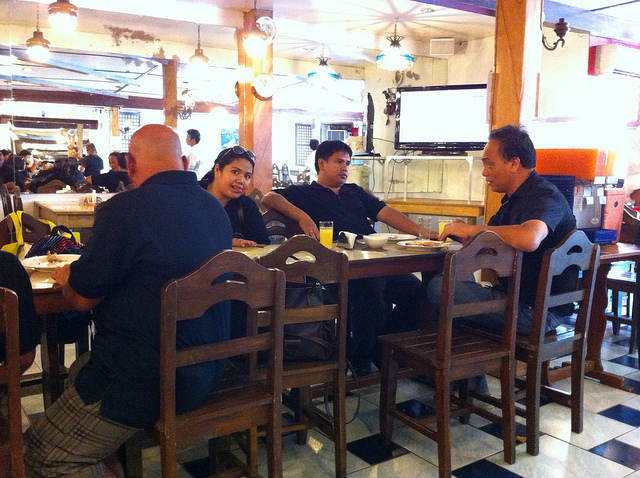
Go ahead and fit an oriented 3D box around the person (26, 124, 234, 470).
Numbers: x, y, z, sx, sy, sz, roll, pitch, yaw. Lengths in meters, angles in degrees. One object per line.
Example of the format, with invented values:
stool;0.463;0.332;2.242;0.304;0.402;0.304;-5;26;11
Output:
person;-0.739;0.223;1.990;0.805;1.290;0.402;-2;14;-10

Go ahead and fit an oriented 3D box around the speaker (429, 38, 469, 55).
speaker;1.688;-2.507;6.783;0.389;0.229;0.416;10;15;36

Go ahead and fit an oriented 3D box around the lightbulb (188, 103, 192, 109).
lightbulb;-1.632;-1.672;6.542;0.026;0.063;0.066;11;17;38

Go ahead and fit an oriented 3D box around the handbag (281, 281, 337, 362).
handbag;-0.059;0.385;2.508;0.285;0.350;0.352;2;3;-5

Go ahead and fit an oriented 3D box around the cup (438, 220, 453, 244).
cup;0.747;-0.045;3.072;0.075;0.158;0.321;4;13;14

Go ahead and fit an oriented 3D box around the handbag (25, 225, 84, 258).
handbag;-1.378;0.019;2.663;0.211;0.071;0.141;-15;21;-39

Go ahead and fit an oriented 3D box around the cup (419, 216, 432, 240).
cup;0.662;-0.076;3.242;0.073;0.150;0.271;4;13;13

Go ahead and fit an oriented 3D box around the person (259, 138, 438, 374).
person;0.266;0.088;3.536;1.029;1.481;0.890;3;13;22

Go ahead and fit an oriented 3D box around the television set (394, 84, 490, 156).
television set;1.516;-1.455;6.393;1.258;0.857;0.315;7;19;33

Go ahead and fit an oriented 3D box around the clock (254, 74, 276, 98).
clock;-0.576;-1.601;5.450;0.219;0.245;0.147;-2;13;-11

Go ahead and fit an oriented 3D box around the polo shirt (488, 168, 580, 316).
polo shirt;1.151;0.053;2.813;0.493;0.816;0.567;7;15;26

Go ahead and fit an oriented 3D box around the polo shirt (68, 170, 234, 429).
polo shirt;-0.615;0.232;1.956;0.611;0.954;0.318;-6;15;-26

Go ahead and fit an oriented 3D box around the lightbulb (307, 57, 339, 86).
lightbulb;0.102;-2.279;6.915;0.309;0.292;0.306;-36;34;-14

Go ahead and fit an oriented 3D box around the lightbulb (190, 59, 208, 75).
lightbulb;-1.493;-2.108;6.391;0.197;0.145;0.327;-3;13;-14
